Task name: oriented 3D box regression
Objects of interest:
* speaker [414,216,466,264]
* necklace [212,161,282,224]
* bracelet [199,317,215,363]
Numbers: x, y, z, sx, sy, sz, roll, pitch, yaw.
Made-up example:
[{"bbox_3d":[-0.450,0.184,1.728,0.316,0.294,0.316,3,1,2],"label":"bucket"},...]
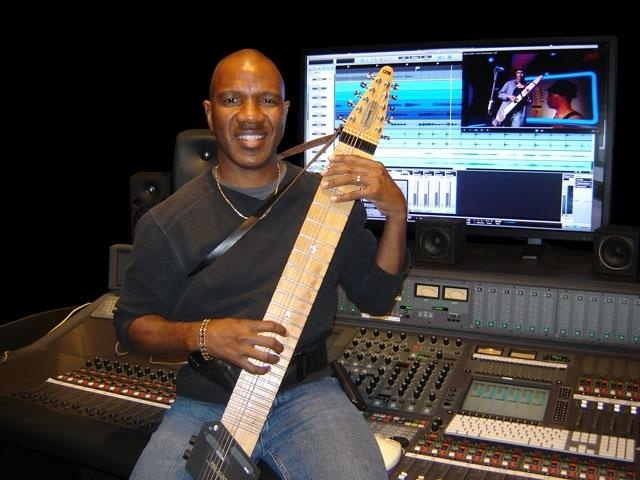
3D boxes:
[{"bbox_3d":[0.596,0.007,2.580,0.285,0.268,0.207,1,-1,20],"label":"speaker"},{"bbox_3d":[-0.294,-0.164,1.872,0.208,0.245,0.063,-5,-7,-4],"label":"necklace"},{"bbox_3d":[-0.382,0.338,1.672,0.027,0.107,0.101,4,8,-5],"label":"bracelet"}]
